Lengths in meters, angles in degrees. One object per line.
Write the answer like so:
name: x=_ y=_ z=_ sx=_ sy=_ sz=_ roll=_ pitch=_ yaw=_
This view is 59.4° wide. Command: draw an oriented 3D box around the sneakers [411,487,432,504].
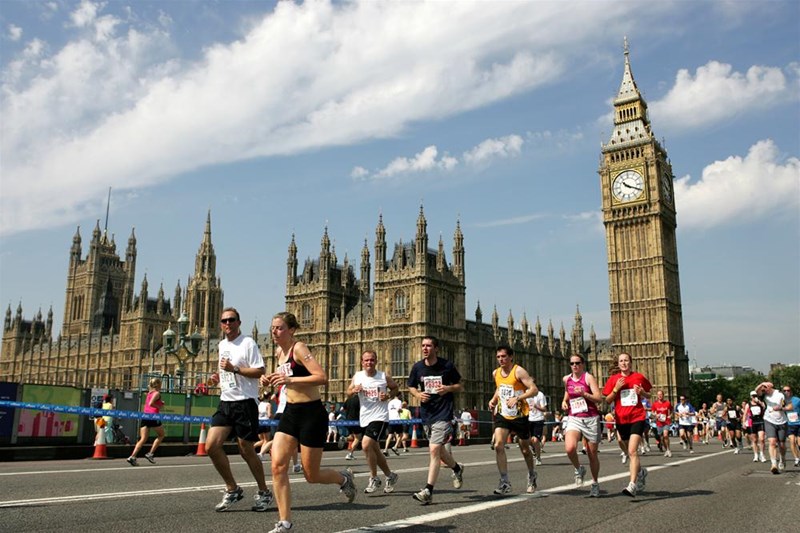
sneakers: x=0.403 y=3.996 z=12.314 sx=0.287 sy=0.281 sz=0.334 roll=-3 pitch=-11 yaw=10

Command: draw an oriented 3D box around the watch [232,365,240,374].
watch: x=-2.736 y=1.707 z=11.703 sx=0.097 sy=0.090 sz=0.076 roll=-4 pitch=4 yaw=15
